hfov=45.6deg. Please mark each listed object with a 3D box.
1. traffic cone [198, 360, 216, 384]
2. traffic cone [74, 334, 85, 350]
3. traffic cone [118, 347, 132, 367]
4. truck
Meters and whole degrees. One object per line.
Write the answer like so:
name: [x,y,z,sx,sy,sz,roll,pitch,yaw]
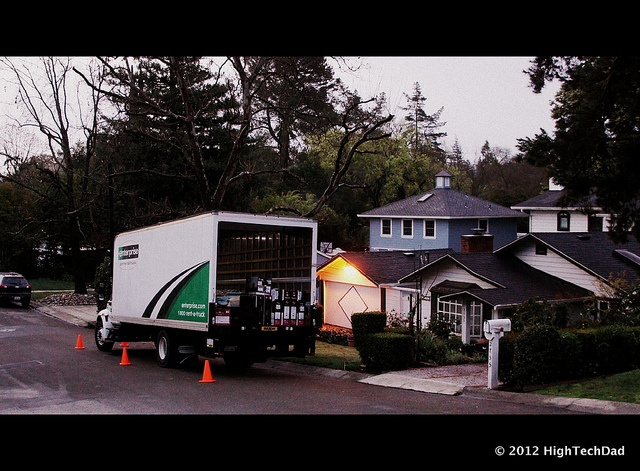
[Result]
traffic cone: [-3.074,3.680,20.664,0.474,0.571,0.491,-3,-3,30]
traffic cone: [-8.232,3.641,26.139,0.401,0.507,0.428,3,-4,-6]
traffic cone: [-5.958,3.648,22.987,0.420,0.598,0.446,0,-3,-12]
truck: [-3.749,1.749,23.897,3.511,4.458,8.461,5,-6,-37]
